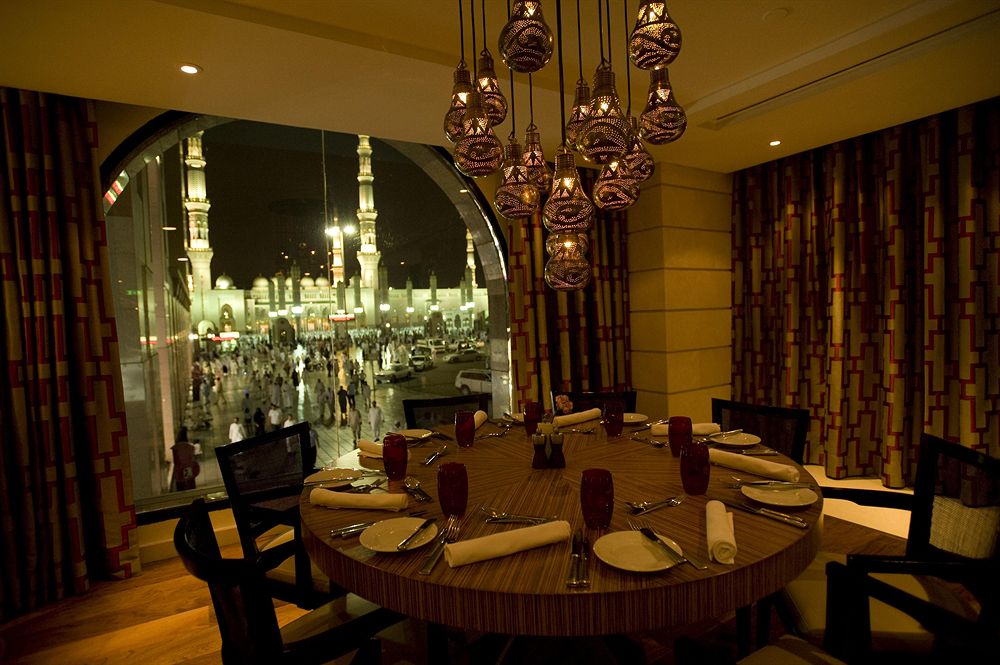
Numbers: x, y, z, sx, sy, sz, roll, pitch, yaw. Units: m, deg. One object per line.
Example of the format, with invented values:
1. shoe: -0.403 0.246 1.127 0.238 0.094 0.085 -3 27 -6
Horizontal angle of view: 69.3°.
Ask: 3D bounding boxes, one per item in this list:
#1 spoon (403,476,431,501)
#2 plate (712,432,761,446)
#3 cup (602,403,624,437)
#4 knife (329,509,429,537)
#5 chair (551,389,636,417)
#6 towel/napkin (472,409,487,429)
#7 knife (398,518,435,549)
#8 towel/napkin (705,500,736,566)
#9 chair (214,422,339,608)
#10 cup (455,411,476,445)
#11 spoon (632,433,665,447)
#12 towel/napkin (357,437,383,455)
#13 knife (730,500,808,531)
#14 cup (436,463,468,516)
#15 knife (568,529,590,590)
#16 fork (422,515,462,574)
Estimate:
1. spoon: -0.434 0.822 3.779 0.066 0.023 0.173 -3 14 -18
2. plate: 1.334 0.607 4.120 0.124 0.019 0.122 -4 6 -18
3. cup: 0.660 0.521 4.276 0.163 0.231 0.167 -3 -3 0
4. knife: -0.588 0.940 3.554 0.418 0.045 0.080 -3 4 -29
5. chair: 0.617 0.461 4.733 0.380 0.211 0.368 -4 -9 20
6. towel/napkin: -0.131 0.549 4.613 0.084 0.088 0.080 0 1 -1
7. knife: -0.404 0.963 3.472 0.058 0.027 0.301 5 17 21
8. towel/napkin: 1.041 0.925 3.439 0.141 0.100 0.341 1 25 11
9. chair: -1.445 1.144 4.429 0.617 1.004 0.636 -11 2 -44
10. cup: -0.205 0.565 4.318 0.164 0.242 0.167 -3 0 0
11. spoon: 0.862 0.628 4.228 0.275 0.048 0.063 1 0 -45
12. towel/napkin: -0.773 0.665 4.259 0.085 0.057 0.156 12 -6 -38
13. knife: 1.303 0.890 3.506 0.375 0.044 0.057 9 40 33
14. cup: -0.238 0.778 3.612 0.178 0.264 0.179 -1 1 0
15. knife: 0.357 1.055 3.331 0.113 0.052 0.441 -5 12 8
16. fork: -0.272 0.982 3.422 0.068 0.056 0.416 -7 23 15
